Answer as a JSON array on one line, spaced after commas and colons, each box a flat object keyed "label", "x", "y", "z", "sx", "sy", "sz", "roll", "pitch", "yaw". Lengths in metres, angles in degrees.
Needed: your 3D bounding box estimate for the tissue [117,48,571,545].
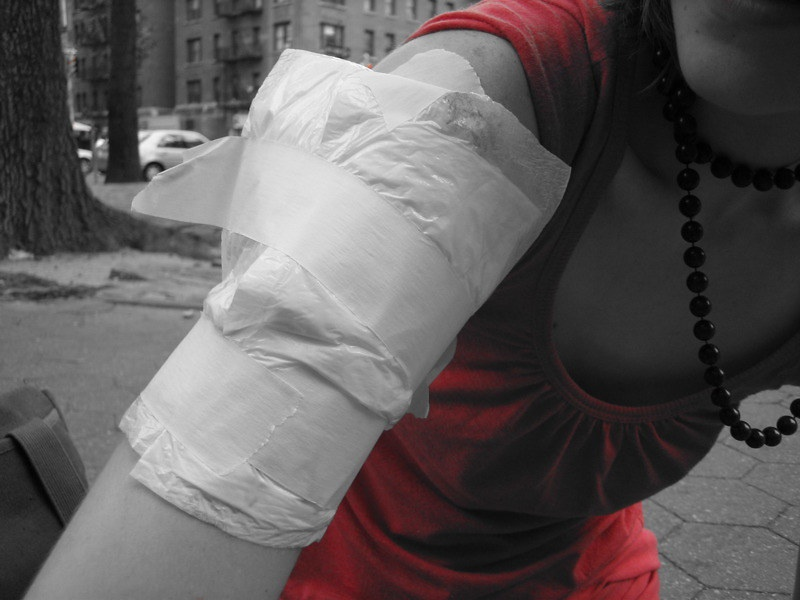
[{"label": "tissue", "x": -0.075, "y": -0.026, "z": 0.712, "sx": 0.435, "sy": 0.364, "sz": 0.271, "roll": -22, "pitch": 37, "yaw": -37}]
